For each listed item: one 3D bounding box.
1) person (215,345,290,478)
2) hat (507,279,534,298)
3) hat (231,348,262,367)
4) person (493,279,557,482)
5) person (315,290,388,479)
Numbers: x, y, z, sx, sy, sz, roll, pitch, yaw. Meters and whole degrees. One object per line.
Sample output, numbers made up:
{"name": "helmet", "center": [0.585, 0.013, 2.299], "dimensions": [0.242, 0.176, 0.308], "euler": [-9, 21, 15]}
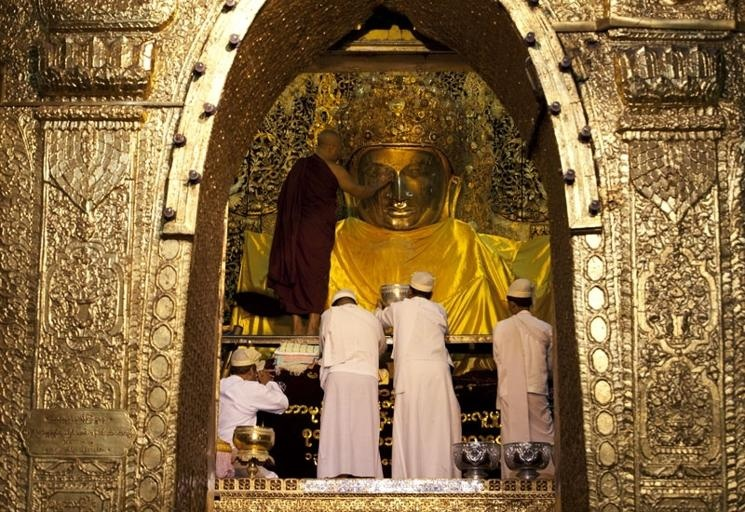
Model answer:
{"name": "person", "center": [-0.709, 0.931, 11.184], "dimensions": [0.406, 1.007, 1.081], "euler": [1, -17, -3]}
{"name": "hat", "center": [0.937, 0.207, 11.676], "dimensions": [0.127, 0.079, 0.126], "euler": [3, 6, 14]}
{"name": "hat", "center": [-0.767, 0.636, 11.529], "dimensions": [0.103, 0.078, 0.145], "euler": [5, 7, 34]}
{"name": "person", "center": [0.910, 0.739, 11.227], "dimensions": [0.320, 0.877, 0.419], "euler": [-12, -21, 33]}
{"name": "person", "center": [-0.117, 0.816, 11.155], "dimensions": [0.395, 1.085, 0.259], "euler": [1, -17, -2]}
